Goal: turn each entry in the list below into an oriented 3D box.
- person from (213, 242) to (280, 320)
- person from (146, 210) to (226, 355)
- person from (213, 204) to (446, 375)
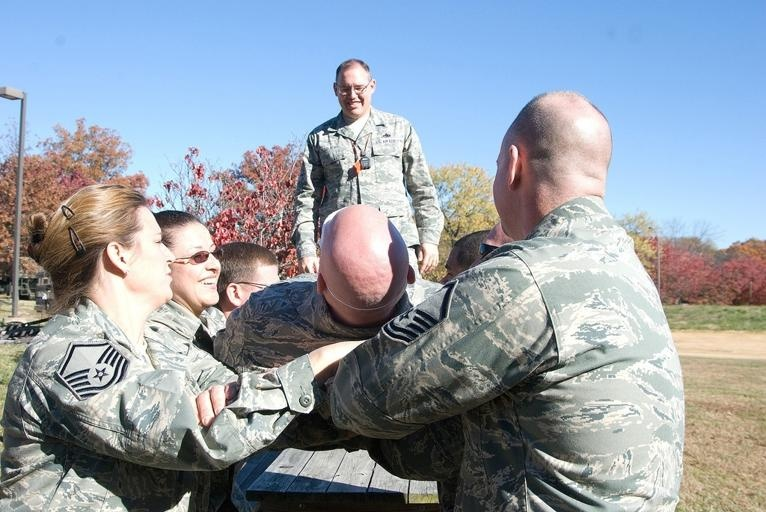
[{"bbox_3d":[-1.050,0.162,4.150,0.532,0.756,0.467,-1,3,-19],"label":"person"},{"bbox_3d":[-1.082,0.164,3.173,0.386,0.651,0.778,-4,-2,-3],"label":"person"},{"bbox_3d":[-0.307,0.134,2.764,1.325,0.663,0.912,-6,-6,-14],"label":"person"}]
